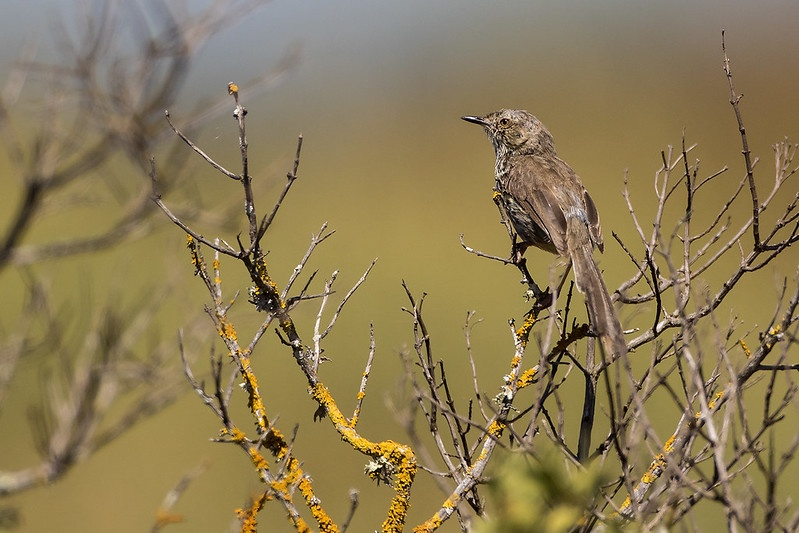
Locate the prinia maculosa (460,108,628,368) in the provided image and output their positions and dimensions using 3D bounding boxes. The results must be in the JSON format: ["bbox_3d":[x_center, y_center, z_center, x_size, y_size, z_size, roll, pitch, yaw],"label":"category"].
[{"bbox_3d":[1.233,-0.188,8.108,0.995,2.198,0.645,-13,-45,-10],"label":"prinia maculosa"}]
